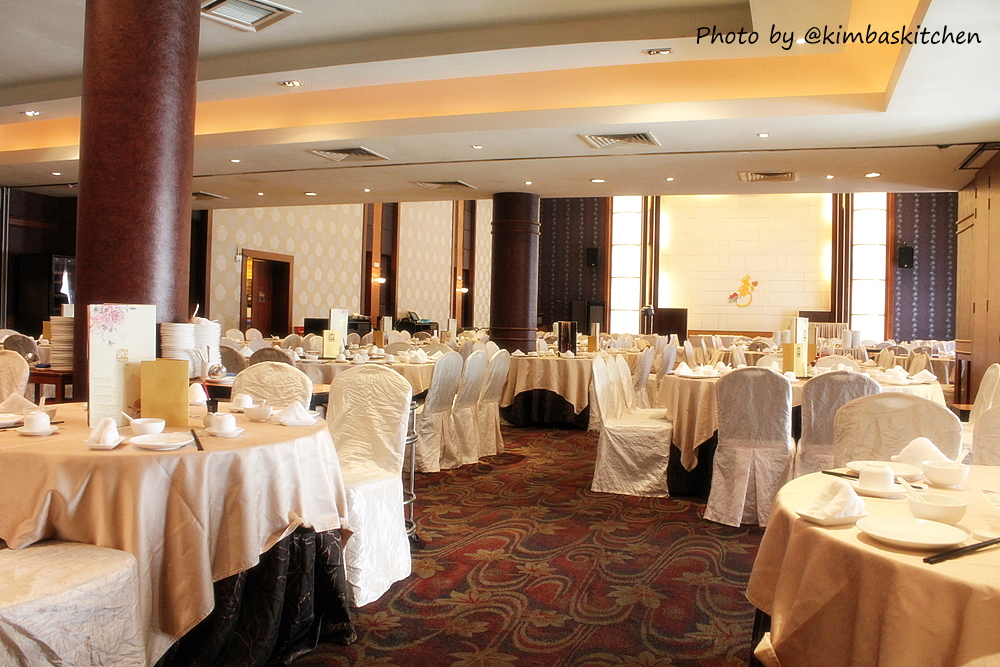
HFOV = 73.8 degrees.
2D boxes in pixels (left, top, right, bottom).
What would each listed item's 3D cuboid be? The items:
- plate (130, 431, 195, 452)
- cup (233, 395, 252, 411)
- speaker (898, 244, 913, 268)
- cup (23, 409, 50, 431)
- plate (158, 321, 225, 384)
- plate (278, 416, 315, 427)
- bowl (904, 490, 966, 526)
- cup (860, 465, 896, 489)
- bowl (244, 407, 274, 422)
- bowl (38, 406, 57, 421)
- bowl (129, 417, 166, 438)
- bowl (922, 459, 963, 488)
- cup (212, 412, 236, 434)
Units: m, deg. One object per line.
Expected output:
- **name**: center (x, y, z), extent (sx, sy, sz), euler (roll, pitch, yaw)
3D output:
- **plate**: center (-1.378, 0.450, 2.730), extent (0.221, 0.046, 0.229), euler (-1, 1, -38)
- **cup**: center (-1.281, 0.357, 3.377), extent (0.103, 0.084, 0.105), euler (3, 2, 0)
- **speaker**: center (9.098, -1.711, 14.943), extent (0.352, 0.551, 0.142), euler (0, 2, -6)
- **cup**: center (-1.980, 0.381, 2.881), extent (0.078, 0.074, 0.101), euler (3, 5, 1)
- **plate**: center (-1.980, 0.097, 4.339), extent (0.478, 0.378, 0.470), euler (1, 1, 17)
- **plate**: center (-0.958, 0.422, 3.151), extent (0.160, 0.037, 0.073), euler (0, 1, -17)
- **bowl**: center (1.428, 0.583, 2.203), extent (0.147, 0.060, 0.147), euler (-1, 0, 0)
- **cup**: center (1.388, 0.540, 2.455), extent (0.077, 0.045, 0.078), euler (0, 0, 0)
- **bowl**: center (-1.168, 0.393, 3.227), extent (0.127, 0.076, 0.113), euler (0, 1, -16)
- **bowl**: center (-2.065, 0.374, 3.043), extent (0.066, 0.042, 0.066), euler (0, -2, 0)
- **bowl**: center (-1.492, 0.402, 2.847), extent (0.101, 0.044, 0.100), euler (0, -5, 0)
- **bowl**: center (1.662, 0.530, 2.491), extent (0.110, 0.061, 0.114), euler (0, -8, 0)
- **cup**: center (-1.215, 0.403, 2.917), extent (0.098, 0.094, 0.115), euler (-1, 2, -41)
